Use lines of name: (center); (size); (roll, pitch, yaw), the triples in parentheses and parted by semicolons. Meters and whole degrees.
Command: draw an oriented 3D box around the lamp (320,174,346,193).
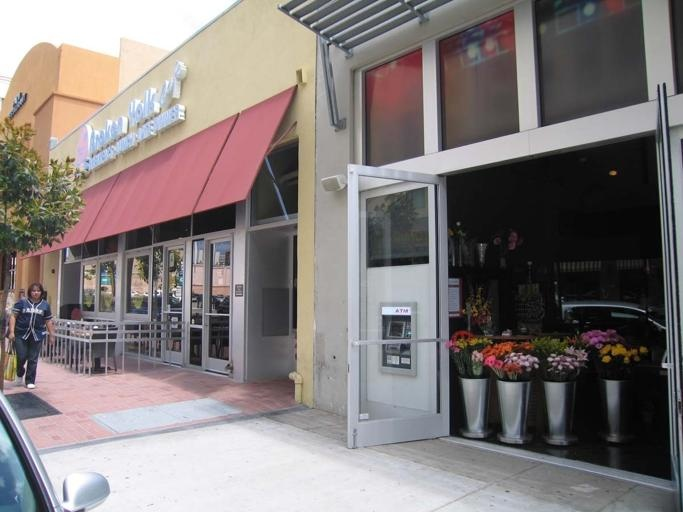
lamp: (-0.124, -1.161, 8.197); (0.252, 0.259, 0.345); (-25, 8, -39)

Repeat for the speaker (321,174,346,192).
speaker: (-0.118, -1.177, 8.231); (0.377, 0.195, 0.289); (-1, -6, -3)

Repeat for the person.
person: (-6.003, 1.539, 10.031); (0.697, 1.998, 0.591); (2, -6, -26)
